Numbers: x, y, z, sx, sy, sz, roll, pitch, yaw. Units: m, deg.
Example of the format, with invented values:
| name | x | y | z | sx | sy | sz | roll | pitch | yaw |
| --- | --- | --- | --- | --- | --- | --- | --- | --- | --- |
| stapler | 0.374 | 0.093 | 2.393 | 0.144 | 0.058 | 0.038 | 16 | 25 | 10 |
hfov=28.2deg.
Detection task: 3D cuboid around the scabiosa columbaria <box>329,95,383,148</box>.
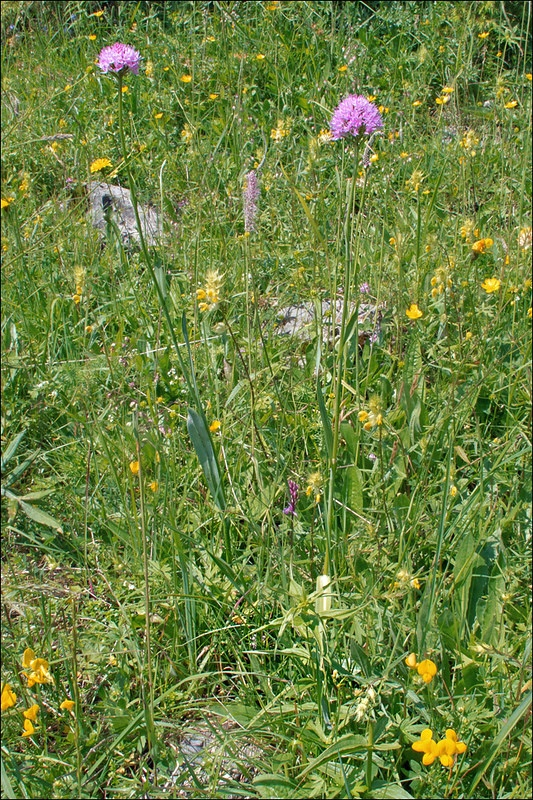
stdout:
| name | x | y | z | sx | sy | sz | roll | pitch | yaw |
| --- | --- | --- | --- | --- | --- | --- | --- | --- | --- |
| scabiosa columbaria | 0.155 | -0.506 | 1.982 | 0.098 | 0.127 | 0.106 | 11 | 27 | 26 |
